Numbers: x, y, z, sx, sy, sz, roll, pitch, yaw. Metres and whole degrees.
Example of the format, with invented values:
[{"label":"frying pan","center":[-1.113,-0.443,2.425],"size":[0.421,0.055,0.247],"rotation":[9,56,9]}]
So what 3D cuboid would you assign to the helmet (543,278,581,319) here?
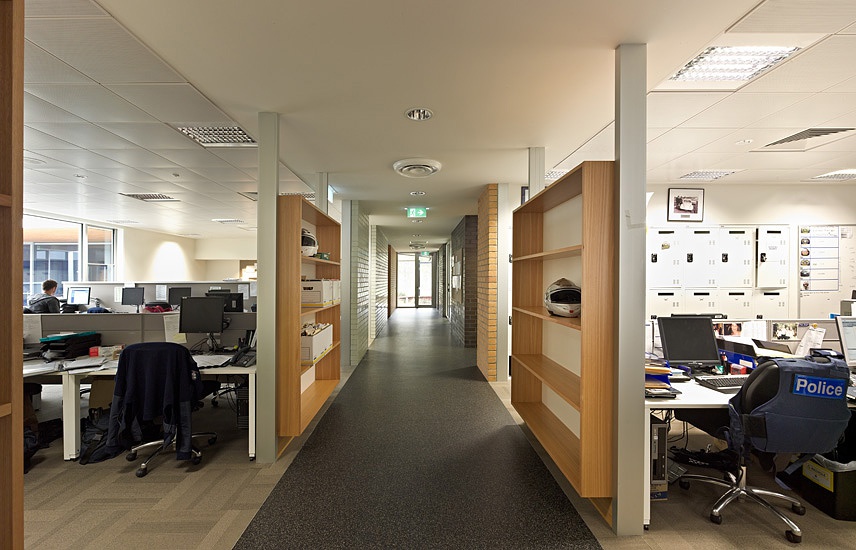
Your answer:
[{"label":"helmet","center":[1.466,0.206,6.110],"size":[0.414,0.361,0.638],"rotation":[-3,13,3]}]

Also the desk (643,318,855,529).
[{"label":"desk","center":[2.770,1.540,6.152],"size":[1.720,1.981,1.948],"rotation":[1,0,-2]}]

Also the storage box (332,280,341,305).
[{"label":"storage box","center":[-1.252,0.238,7.802],"size":[0.133,0.333,0.384],"rotation":[0,1,-1]}]

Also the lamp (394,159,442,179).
[{"label":"lamp","center":[-0.141,-1.485,7.779],"size":[0.667,0.132,0.507],"rotation":[-1,-2,-3]}]

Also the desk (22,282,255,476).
[{"label":"desk","center":[-3.190,1.202,6.607],"size":[2.665,1.874,1.164],"rotation":[-2,-2,20]}]

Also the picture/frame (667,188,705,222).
[{"label":"picture/frame","center":[4.176,-1.143,9.141],"size":[0.613,0.550,0.043],"rotation":[0,8,4]}]

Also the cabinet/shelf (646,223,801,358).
[{"label":"cabinet/shelf","center":[4.204,0.234,8.144],"size":[1.964,1.698,0.705],"rotation":[0,-1,-1]}]

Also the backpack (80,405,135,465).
[{"label":"backpack","center":[-3.589,1.840,6.532],"size":[0.631,0.687,0.257],"rotation":[1,0,22]}]

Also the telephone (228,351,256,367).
[{"label":"telephone","center":[-2.090,0.962,6.539],"size":[0.211,0.074,0.186],"rotation":[-5,13,14]}]

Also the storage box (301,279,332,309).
[{"label":"storage box","center":[-1.391,0.233,7.113],"size":[0.298,0.236,0.528],"rotation":[1,-1,0]}]
